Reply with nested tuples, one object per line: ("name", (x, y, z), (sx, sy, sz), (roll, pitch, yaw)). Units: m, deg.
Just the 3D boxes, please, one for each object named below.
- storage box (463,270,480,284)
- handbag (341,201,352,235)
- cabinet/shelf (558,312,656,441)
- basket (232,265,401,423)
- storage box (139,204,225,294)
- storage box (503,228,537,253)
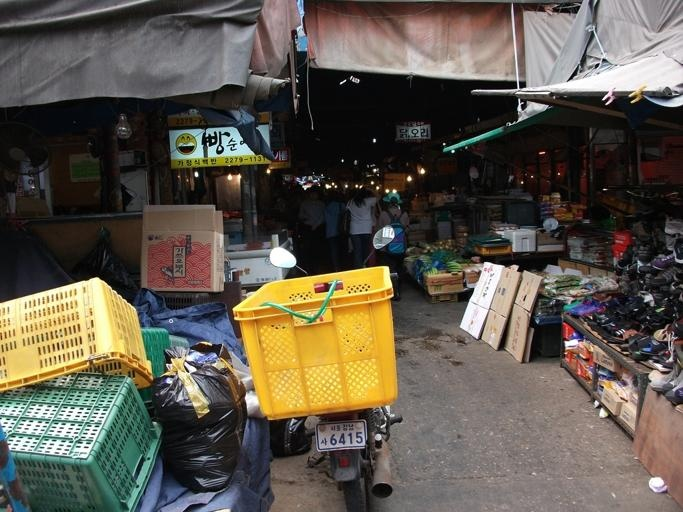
("storage box", (2.442, 0.405, 10.761), (0.315, 0.270, 0.078), (-4, 13, -6))
("handbag", (0.103, -0.759, 11.798), (0.267, 0.858, 0.658), (2, 7, 1))
("cabinet/shelf", (2.667, 1.216, 5.716), (0.296, 0.533, 1.108), (-1, 16, -3))
("basket", (-0.155, 0.725, 4.327), (1.090, 0.790, 1.512), (-8, -4, -1))
("storage box", (-1.718, -0.052, 6.738), (0.950, 0.932, 0.984), (0, -3, 0))
("storage box", (3.461, -0.277, 10.967), (0.530, 0.399, 0.744), (0, 7, 11))
